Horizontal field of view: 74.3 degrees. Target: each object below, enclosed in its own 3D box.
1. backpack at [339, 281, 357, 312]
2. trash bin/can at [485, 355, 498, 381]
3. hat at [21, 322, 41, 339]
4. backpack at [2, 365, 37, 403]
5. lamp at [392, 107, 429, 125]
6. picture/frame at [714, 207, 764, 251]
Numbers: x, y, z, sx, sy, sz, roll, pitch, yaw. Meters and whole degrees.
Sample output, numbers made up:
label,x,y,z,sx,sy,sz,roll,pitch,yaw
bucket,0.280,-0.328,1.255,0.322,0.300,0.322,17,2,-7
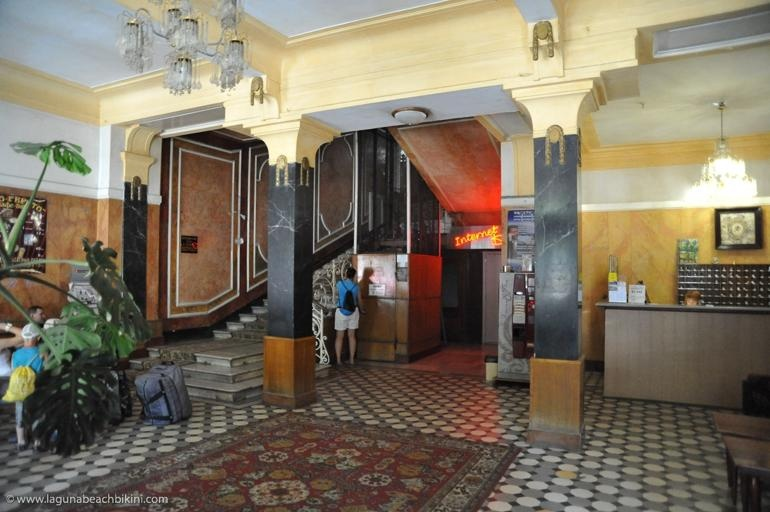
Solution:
label,x,y,z,sx,sy,sz,roll,pitch,yaw
backpack,-0.784,0.822,10.482,0.359,0.652,0.192,0,7,-7
trash bin/can,1.951,2.087,9.365,0.208,0.404,0.402,2,8,8
hat,-4.369,0.907,6.255,0.165,0.242,0.401,-4,9,-32
backpack,-3.394,1.173,4.715,0.229,0.311,0.108,-4,9,-33
lamp,0.393,-2.117,7.706,0.568,0.164,0.526,1,8,0
picture/frame,6.886,-0.523,9.835,0.890,0.935,0.076,1,0,28
